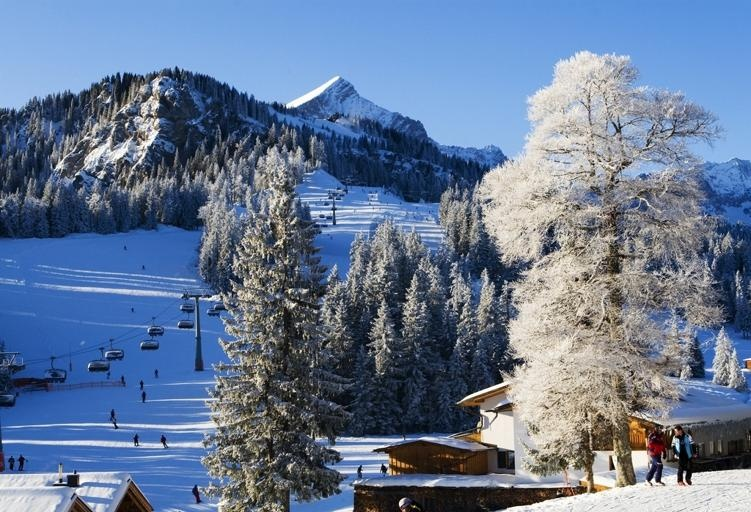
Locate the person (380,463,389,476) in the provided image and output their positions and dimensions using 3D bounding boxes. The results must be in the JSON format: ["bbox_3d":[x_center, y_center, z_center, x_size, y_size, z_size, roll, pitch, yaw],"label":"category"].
[{"bbox_3d":[1.245,28.447,175.766,1.022,1.474,3.062,-3,0,0],"label":"person"}]

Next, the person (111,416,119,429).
[{"bbox_3d":[-36.812,23.785,186.571,0.640,2.076,0.604,10,-51,-30],"label":"person"}]
